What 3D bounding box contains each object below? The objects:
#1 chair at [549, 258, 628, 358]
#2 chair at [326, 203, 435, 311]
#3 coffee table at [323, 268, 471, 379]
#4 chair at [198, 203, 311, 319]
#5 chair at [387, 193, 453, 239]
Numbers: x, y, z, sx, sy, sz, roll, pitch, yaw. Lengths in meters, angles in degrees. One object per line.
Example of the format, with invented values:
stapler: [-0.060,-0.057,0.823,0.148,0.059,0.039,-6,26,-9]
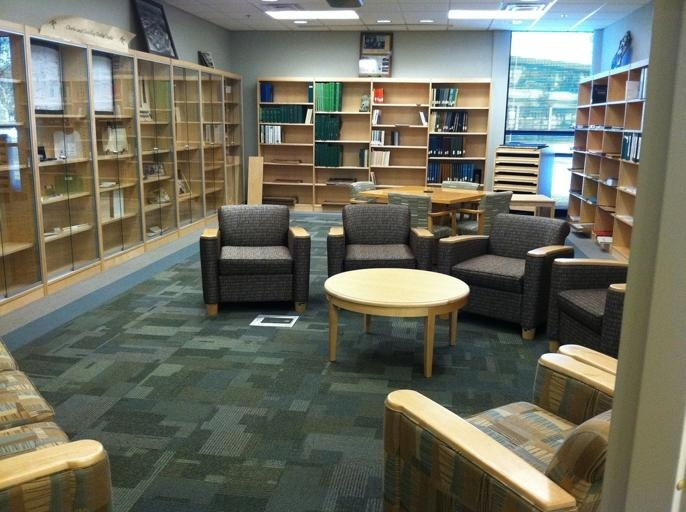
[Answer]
chair: [1.713,0.435,3.385,0.484,0.725,0.963,8,17,28]
chair: [0.356,-0.107,4.761,1.075,0.718,0.677,1,22,1]
coffee table: [0.400,0.459,3.589,1.125,0.387,0.961,1,6,-4]
chair: [-0.885,-0.046,4.709,1.295,0.795,1.213,-11,22,-35]
chair: [0.974,-0.463,5.966,0.641,0.677,0.693,14,20,37]
